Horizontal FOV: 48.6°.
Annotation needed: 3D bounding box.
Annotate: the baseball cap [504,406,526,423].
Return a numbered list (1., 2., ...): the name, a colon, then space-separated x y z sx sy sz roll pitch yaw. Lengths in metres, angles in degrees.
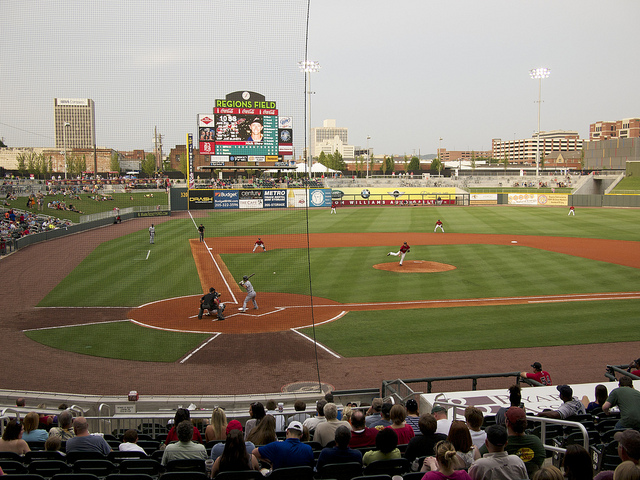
1. baseball cap: 3.633 3.222 13.124 0.353 0.285 0.251 2 9 14

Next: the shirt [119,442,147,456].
1. shirt: -3.808 4.167 14.255 0.449 0.184 0.403 -4 10 -21

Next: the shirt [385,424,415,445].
1. shirt: 1.560 3.814 13.949 0.556 0.515 0.327 2 6 3

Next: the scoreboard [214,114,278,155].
1. scoreboard: -7.797 -11.034 75.189 6.670 4.171 1.657 -4 10 -22

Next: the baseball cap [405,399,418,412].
1. baseball cap: 1.902 3.369 14.652 0.168 0.170 0.232 7 39 5

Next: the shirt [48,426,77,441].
1. shirt: -5.316 3.991 14.702 0.512 0.348 0.643 3 -11 -8

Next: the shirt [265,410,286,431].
1. shirt: -1.019 4.132 16.324 0.422 0.385 0.411 1 -4 -3

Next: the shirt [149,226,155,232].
1. shirt: -10.828 -0.681 45.532 0.362 0.338 0.205 11 51 -1

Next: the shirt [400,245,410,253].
1. shirt: 4.390 0.436 36.723 0.357 0.427 0.598 0 9 6

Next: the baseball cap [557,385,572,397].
1. baseball cap: 5.593 3.403 16.102 0.250 0.195 0.364 4 30 17

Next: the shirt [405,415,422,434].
1. shirt: 2.037 4.018 15.518 0.319 0.286 0.315 0 3 10

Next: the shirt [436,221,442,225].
1. shirt: 8.796 -1.224 52.356 0.359 0.225 0.475 1 8 5

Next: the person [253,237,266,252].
1. person: -3.876 0.319 45.130 0.836 0.919 0.377 4 52 -6

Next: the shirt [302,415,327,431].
1. shirt: -0.113 3.886 15.116 0.545 0.243 0.282 -5 6 1

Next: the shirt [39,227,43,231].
1. shirt: -18.439 -0.709 46.760 0.254 0.062 0.232 5 12 7

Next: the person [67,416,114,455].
1. person: -4.845 4.069 14.822 1.096 0.869 0.573 -1 14 -5

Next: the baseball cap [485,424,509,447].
1. baseball cap: 3.118 3.407 12.571 0.290 0.218 0.382 -1 30 -2

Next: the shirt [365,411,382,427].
1. shirt: 1.161 3.863 15.390 0.339 0.176 0.626 1 9 7

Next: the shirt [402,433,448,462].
1. shirt: 2.008 4.148 13.595 0.825 0.733 0.446 1 19 -2

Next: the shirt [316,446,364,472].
1. shirt: 0.347 4.248 13.472 0.803 0.403 0.430 0 10 -2
